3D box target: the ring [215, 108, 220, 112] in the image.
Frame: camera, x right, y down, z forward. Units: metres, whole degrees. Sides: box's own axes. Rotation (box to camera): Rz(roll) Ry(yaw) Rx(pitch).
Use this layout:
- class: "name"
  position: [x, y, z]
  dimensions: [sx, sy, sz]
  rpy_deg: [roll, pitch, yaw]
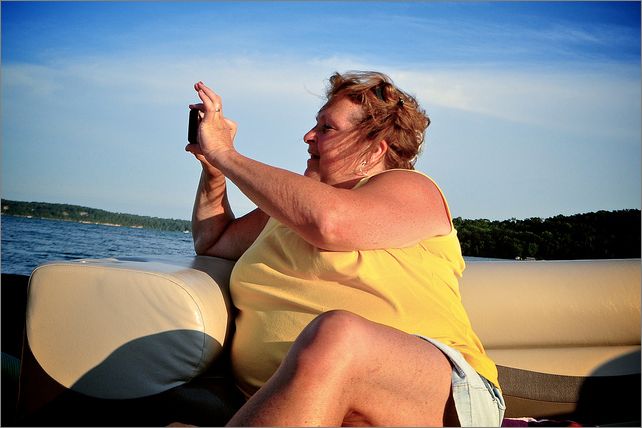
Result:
- class: "ring"
  position: [-0.592, -0.592, 3.035]
  dimensions: [0.010, 0.013, 0.030]
  rpy_deg: [6, 19, 12]
